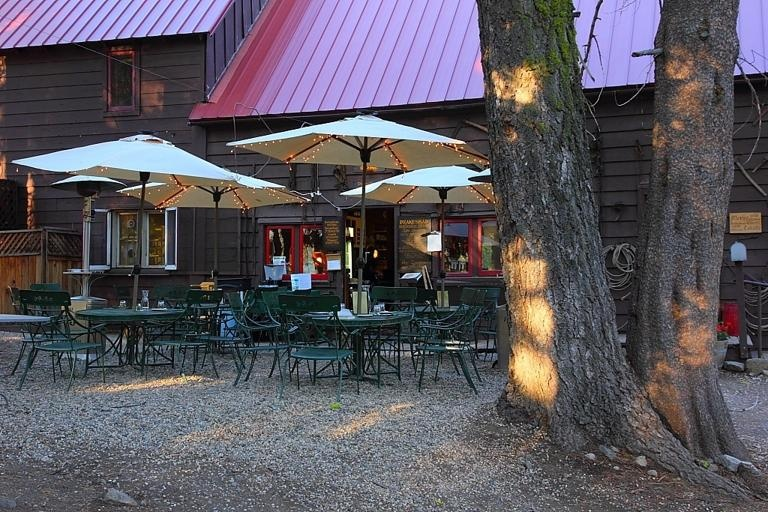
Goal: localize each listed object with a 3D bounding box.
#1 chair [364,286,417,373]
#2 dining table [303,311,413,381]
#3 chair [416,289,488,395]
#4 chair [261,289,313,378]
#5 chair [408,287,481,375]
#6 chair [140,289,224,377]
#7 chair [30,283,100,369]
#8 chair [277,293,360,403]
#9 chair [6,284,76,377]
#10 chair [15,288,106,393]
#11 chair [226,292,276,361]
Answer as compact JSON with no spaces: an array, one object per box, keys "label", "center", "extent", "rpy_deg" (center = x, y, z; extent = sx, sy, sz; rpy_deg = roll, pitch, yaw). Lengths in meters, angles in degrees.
[{"label":"chair","center":[0.146,0.980,12.402],"extent":[0.590,0.952,0.632],"rpy_deg":[-7,6,-2]},{"label":"dining table","center":[-0.341,1.258,11.457],"extent":[1.429,1.026,1.430],"rpy_deg":[-1,-15,0]},{"label":"chair","center":[0.916,1.131,11.799],"extent":[1.245,1.705,1.242],"rpy_deg":[1,-3,-1]},{"label":"chair","center":[-1.573,1.062,11.810],"extent":[0.685,1.009,0.823],"rpy_deg":[-22,-8,22]},{"label":"chair","center":[0.883,1.215,11.510],"extent":[0.869,1.134,0.861],"rpy_deg":[-4,-9,13]},{"label":"chair","center":[-2.857,1.052,12.107],"extent":[0.741,0.958,0.736],"rpy_deg":[-8,-8,7]},{"label":"chair","center":[-4.451,1.113,12.206],"extent":[0.877,1.086,0.847],"rpy_deg":[7,-10,-36]},{"label":"chair","center":[-0.853,1.204,11.108],"extent":[0.942,1.436,0.972],"rpy_deg":[1,3,20]},{"label":"chair","center":[-4.469,0.880,11.224],"extent":[0.856,1.165,0.820],"rpy_deg":[-23,-25,28]},{"label":"chair","center":[-4.443,1.126,11.492],"extent":[0.911,1.384,1.050],"rpy_deg":[-1,-1,21]},{"label":"chair","center":[-1.802,1.077,12.333],"extent":[0.643,0.789,0.653],"rpy_deg":[-17,-1,-37]}]
